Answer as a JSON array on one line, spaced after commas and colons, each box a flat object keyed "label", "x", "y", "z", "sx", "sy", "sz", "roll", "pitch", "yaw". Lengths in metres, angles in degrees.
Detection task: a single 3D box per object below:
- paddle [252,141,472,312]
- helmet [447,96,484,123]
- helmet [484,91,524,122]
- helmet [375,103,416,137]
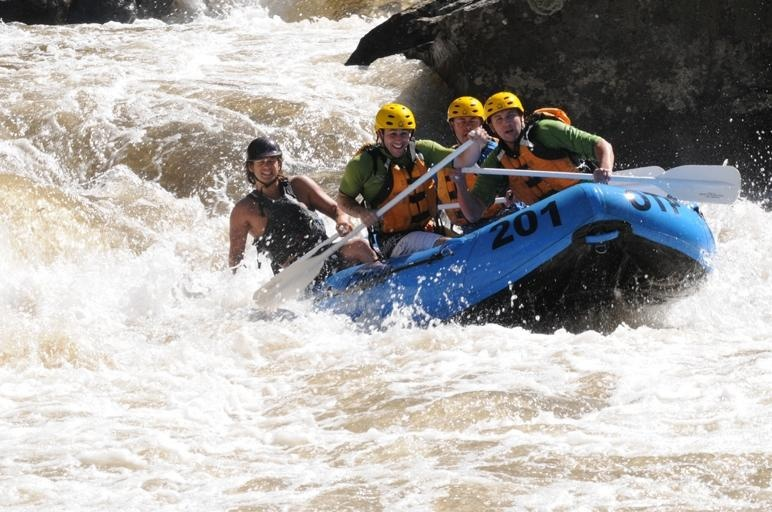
[{"label": "paddle", "x": -0.264, "y": -0.293, "z": 13.822, "sx": 0.471, "sy": 3.779, "sz": 0.211, "roll": 62, "pitch": 8, "yaw": 28}, {"label": "helmet", "x": 1.025, "y": -1.814, "z": 14.244, "sx": 0.312, "sy": 0.291, "sz": 0.379, "roll": 1, "pitch": -28, "yaw": 5}, {"label": "helmet", "x": 1.443, "y": -1.815, "z": 13.696, "sx": 0.432, "sy": 0.353, "sz": 0.286, "roll": 8, "pitch": 7, "yaw": 6}, {"label": "helmet", "x": 0.082, "y": -1.663, "z": 13.714, "sx": 0.384, "sy": 0.288, "sz": 0.430, "roll": -4, "pitch": 17, "yaw": -8}]
